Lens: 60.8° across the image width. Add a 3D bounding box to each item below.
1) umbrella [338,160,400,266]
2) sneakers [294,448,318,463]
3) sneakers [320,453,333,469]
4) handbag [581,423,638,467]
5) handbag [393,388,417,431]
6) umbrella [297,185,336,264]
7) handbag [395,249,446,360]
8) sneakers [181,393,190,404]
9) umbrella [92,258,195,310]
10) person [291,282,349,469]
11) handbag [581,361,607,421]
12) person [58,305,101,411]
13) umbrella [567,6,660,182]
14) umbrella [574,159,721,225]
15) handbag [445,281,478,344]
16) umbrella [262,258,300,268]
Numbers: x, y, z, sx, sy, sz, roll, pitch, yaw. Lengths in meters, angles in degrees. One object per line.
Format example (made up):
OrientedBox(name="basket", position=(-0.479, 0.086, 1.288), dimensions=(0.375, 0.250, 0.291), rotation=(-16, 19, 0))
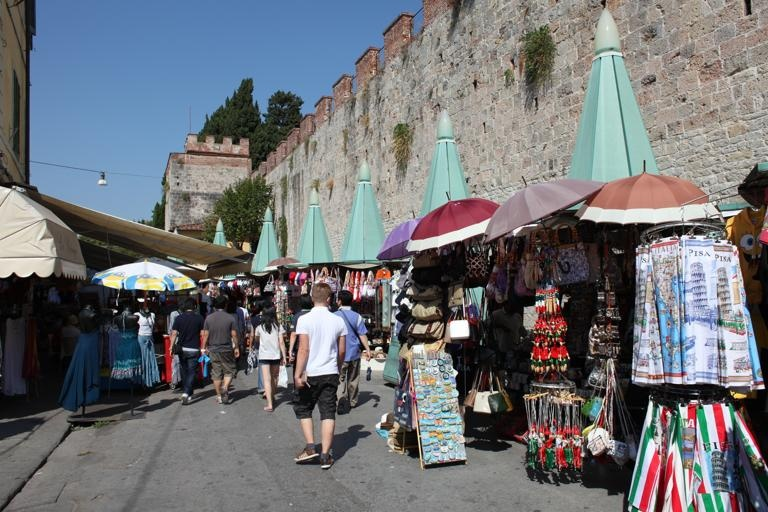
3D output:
OrientedBox(name="umbrella", position=(-0.049, -0.815, 16.868), dimensions=(1.990, 3.017, 1.931), rotation=(0, -1, -10))
OrientedBox(name="sneakers", position=(-0.992, 2.513, 8.218), dimensions=(0.320, 0.157, 0.153), rotation=(-19, -19, 41))
OrientedBox(name="sneakers", position=(-0.713, 2.541, 8.135), dimensions=(0.087, 0.111, 0.248), rotation=(0, -2, 2))
OrientedBox(name="handbag", position=(2.519, 2.112, 7.255), dimensions=(0.452, 0.424, 0.214), rotation=(17, 19, 6))
OrientedBox(name="handbag", position=(0.272, 1.999, 8.468), dimensions=(0.160, 0.481, 0.355), rotation=(5, -4, -35))
OrientedBox(name="umbrella", position=(-1.950, -0.826, 18.214), dimensions=(0.979, 2.045, 2.015), rotation=(-1, 5, -7))
OrientedBox(name="handbag", position=(0.547, 0.624, 8.839), dimensions=(0.468, 1.289, 0.971), rotation=(14, -12, -30))
OrientedBox(name="sneakers", position=(-3.488, 2.491, 11.508), dimensions=(0.155, 0.186, 0.317), rotation=(-2, 5, -18))
OrientedBox(name="umbrella", position=(-4.886, 0.467, 13.302), dimensions=(2.049, 0.946, 2.100), rotation=(-3, -4, 44))
OrientedBox(name="person", position=(-0.823, 1.483, 8.305), dimensions=(0.517, 2.214, 0.640), rotation=(1, 5, 19))
OrientedBox(name="handbag", position=(2.506, 1.627, 7.795), dimensions=(0.264, 0.901, 0.808), rotation=(1, 5, 17))
OrientedBox(name="person", position=(-4.712, 1.609, 10.189), dimensions=(0.672, 1.647, 0.442), rotation=(-4, 6, -42))
OrientedBox(name="umbrella", position=(3.110, -2.234, 8.961), dimensions=(0.955, 2.462, 1.060), rotation=(-2, 5, -17))
OrientedBox(name="umbrella", position=(3.205, -0.675, 7.997), dimensions=(1.701, 0.616, 1.791), rotation=(-1, 3, -11))
OrientedBox(name="handbag", position=(0.983, 0.752, 8.580), dimensions=(0.382, 0.763, 0.517), rotation=(0, 5, 8))
OrientedBox(name="umbrella", position=(-2.765, 0.220, 18.489), dimensions=(0.681, 0.287, 1.312), rotation=(-3, 5, -32))
